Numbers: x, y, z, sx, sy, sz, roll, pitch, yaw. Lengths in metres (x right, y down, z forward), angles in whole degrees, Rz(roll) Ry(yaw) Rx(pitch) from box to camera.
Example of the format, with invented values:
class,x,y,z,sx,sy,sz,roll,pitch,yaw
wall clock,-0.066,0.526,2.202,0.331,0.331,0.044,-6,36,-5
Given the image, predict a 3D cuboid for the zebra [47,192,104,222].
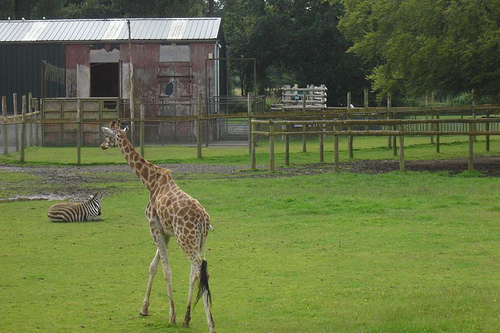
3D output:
class,x,y,z,sx,sy,sz,roll,pitch,yaw
zebra,-8.154,2.108,53.892,3.081,1.650,0.927,3,2,-35
